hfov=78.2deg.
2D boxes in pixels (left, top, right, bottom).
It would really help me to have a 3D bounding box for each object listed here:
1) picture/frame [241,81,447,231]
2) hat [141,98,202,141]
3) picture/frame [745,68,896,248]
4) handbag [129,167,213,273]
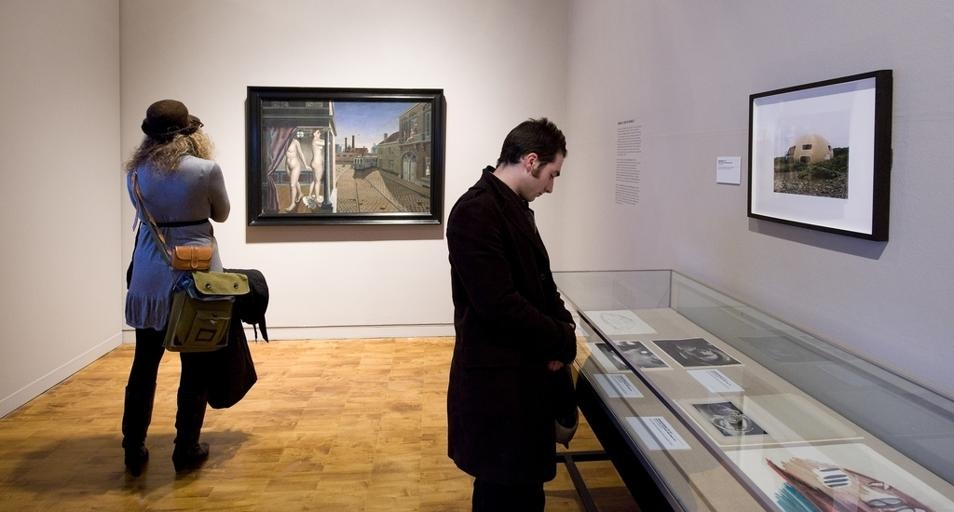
[{"bbox_3d":[-1.601,-1.214,6.707,2.073,1.275,0.070,0,6,-2],"label":"picture/frame"},{"bbox_3d":[-2.263,-0.998,4.389,0.368,0.120,0.353,3,55,-12],"label":"hat"},{"bbox_3d":[2.169,-0.615,3.650,0.156,1.241,1.264,-2,4,-25],"label":"picture/frame"},{"bbox_3d":[-2.272,-0.242,4.355,0.567,0.714,0.273,-2,14,-10],"label":"handbag"}]
